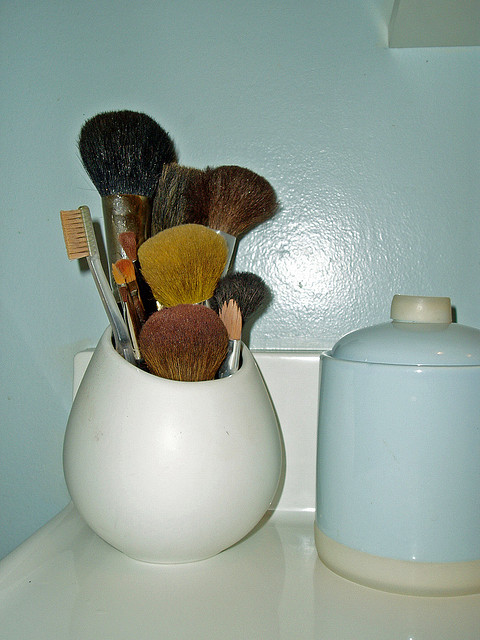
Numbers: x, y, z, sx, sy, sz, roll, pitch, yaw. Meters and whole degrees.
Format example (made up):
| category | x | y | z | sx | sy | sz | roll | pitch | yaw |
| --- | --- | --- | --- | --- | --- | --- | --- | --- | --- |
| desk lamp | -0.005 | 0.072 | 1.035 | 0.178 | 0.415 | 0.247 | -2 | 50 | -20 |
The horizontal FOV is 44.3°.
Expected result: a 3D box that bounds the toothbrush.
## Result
| category | x | y | z | sx | sy | sz | roll | pitch | yaw |
| --- | --- | --- | --- | --- | --- | --- | --- | --- | --- |
| toothbrush | -0.109 | -0.025 | 0.446 | 0.055 | 0.122 | 0.044 | -1 | 11 | 0 |
